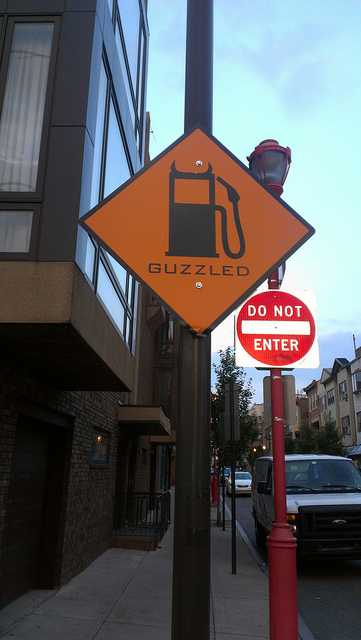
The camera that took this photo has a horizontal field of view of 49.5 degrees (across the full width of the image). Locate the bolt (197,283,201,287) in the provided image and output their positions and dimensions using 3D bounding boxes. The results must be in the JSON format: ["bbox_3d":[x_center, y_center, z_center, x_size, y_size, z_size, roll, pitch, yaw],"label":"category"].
[{"bbox_3d":[0.058,-0.115,1.268,0.012,0.010,0.003,-2,-13,2],"label":"bolt"}]

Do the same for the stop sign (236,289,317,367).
[{"bbox_3d":[0.554,0.042,2.240,0.437,0.610,0.133,-1,-9,-8],"label":"stop sign"}]

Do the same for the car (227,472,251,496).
[{"bbox_3d":[4.182,11.145,26.834,1.059,1.155,2.247,0,-29,-3],"label":"car"}]
